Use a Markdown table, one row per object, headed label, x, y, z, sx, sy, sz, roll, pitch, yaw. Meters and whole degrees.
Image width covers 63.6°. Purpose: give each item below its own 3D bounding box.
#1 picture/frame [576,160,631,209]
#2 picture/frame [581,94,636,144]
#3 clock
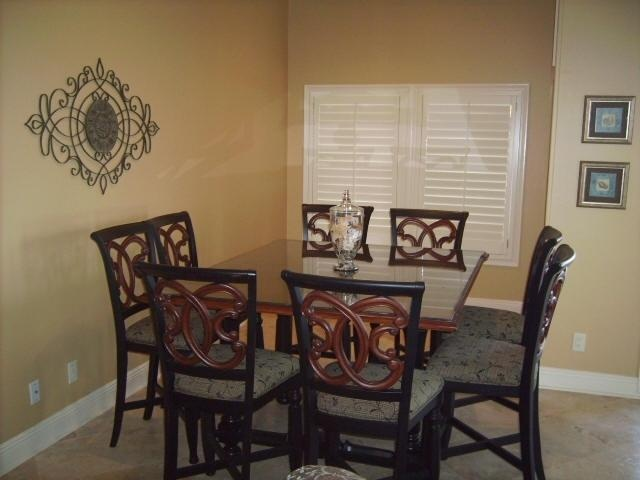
| label | x | y | z | sx | sy | sz | roll | pitch | yaw |
| --- | --- | --- | --- | --- | --- | --- | --- | --- | --- |
| picture/frame | 1.833 | -0.364 | 3.305 | 0.282 | 0.322 | 0.032 | 2 | 6 | 13 |
| picture/frame | 1.846 | -0.772 | 3.267 | 0.290 | 0.316 | 0.023 | 3 | 7 | 14 |
| clock | -1.272 | -0.667 | 2.969 | 0.008 | 0.657 | 0.780 | 10 | 13 | 20 |
